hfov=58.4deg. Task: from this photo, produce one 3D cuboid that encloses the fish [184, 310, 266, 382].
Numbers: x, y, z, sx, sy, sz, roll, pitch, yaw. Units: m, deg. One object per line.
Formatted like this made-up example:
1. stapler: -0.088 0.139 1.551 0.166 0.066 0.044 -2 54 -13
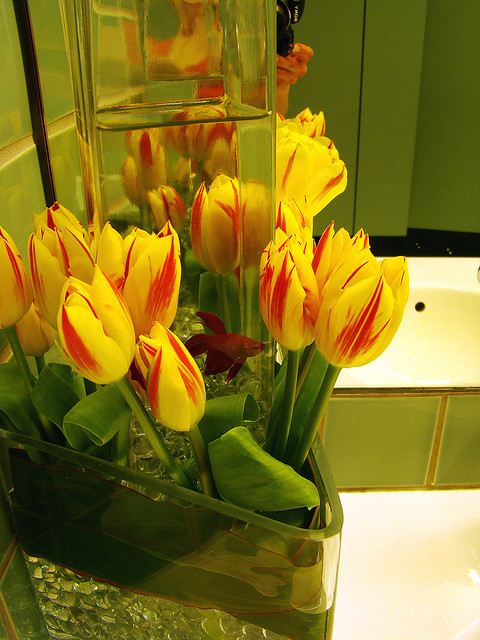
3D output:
1. fish: -0.008 0.008 0.131 0.019 0.021 0.030 -12 8 -31
